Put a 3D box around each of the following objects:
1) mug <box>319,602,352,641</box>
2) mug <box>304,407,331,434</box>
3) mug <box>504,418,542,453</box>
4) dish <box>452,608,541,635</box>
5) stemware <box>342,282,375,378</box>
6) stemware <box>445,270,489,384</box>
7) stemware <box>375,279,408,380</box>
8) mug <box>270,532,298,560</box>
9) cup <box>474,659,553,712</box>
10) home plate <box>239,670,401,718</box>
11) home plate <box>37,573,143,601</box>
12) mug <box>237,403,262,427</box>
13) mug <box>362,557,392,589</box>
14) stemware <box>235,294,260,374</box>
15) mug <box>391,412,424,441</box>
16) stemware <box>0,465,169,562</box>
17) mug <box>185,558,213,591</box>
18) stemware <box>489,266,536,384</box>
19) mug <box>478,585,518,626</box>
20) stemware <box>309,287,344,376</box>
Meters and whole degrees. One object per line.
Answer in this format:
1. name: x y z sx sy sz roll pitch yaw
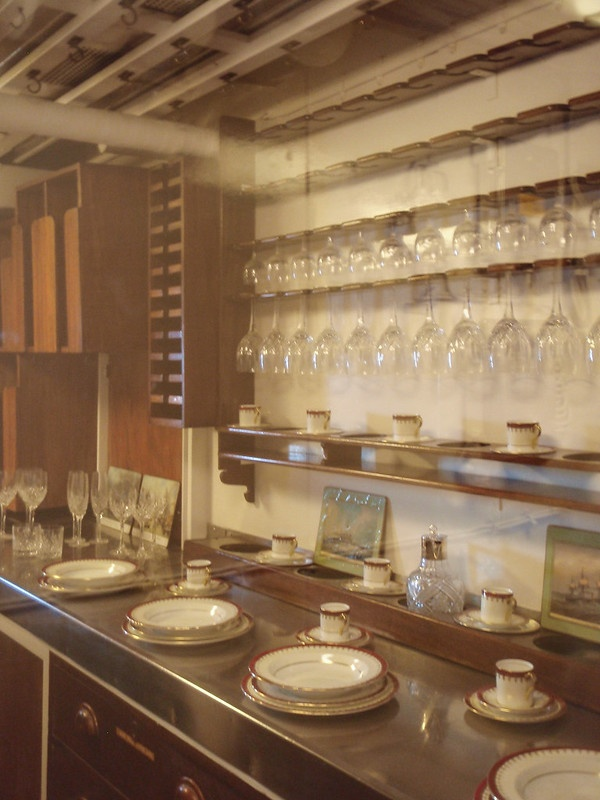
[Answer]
1. mug: 0.070 0.455 1.363 0.052 0.053 0.067 0 -2 -1
2. mug: 0.043 0.057 1.733 0.061 0.063 0.059 1 -2 -2
3. mug: 0.402 0.070 1.202 0.048 0.044 0.061 -1 -4 26
4. dish: 0.360 0.413 1.246 0.082 0.026 0.160 -3 1 -41
5. stemware: 0.141 -0.165 1.586 0.045 0.165 0.102 -3 1 -23
6. stemware: 0.324 -0.148 1.312 0.045 0.145 0.086 -3 1 -13
7. stemware: 0.208 -0.159 1.501 0.041 0.159 0.108 -3 1 -27
8. mug: -0.047 0.402 1.835 0.047 0.047 0.072 1 4 -13
9. cup: 0.326 0.441 1.024 0.079 0.052 0.078 1 0 0
10. home plate: 0.034 0.492 1.119 0.270 0.046 0.162 -2 1 -2
11. home plate: -0.566 0.506 1.819 0.282 0.053 0.146 -3 1 -16
12. mug: -0.151 0.044 1.985 0.065 0.064 0.068 1 0 1
13. mug: 0.171 0.394 1.533 0.069 0.056 0.068 -2 1 15
14. stemware: -0.151 -0.185 1.927 0.069 0.185 0.157 -3 1 -4
15. mug: 0.234 0.065 1.481 0.065 0.046 0.048 1 0 -4
16. stemware: -0.661 0.367 2.240 0.486 0.315 0.200 3 -6 16
17. mug: -0.266 0.465 1.751 0.057 0.053 0.071 0 -6 5
18. stemware: 0.395 -0.137 1.239 0.053 0.140 0.092 -3 1 -20
19. mug: 0.360 0.379 1.227 0.068 0.053 0.050 4 -5 -25
20. stemware: 0.073 -0.169 1.670 0.058 0.165 0.100 -3 1 -25
